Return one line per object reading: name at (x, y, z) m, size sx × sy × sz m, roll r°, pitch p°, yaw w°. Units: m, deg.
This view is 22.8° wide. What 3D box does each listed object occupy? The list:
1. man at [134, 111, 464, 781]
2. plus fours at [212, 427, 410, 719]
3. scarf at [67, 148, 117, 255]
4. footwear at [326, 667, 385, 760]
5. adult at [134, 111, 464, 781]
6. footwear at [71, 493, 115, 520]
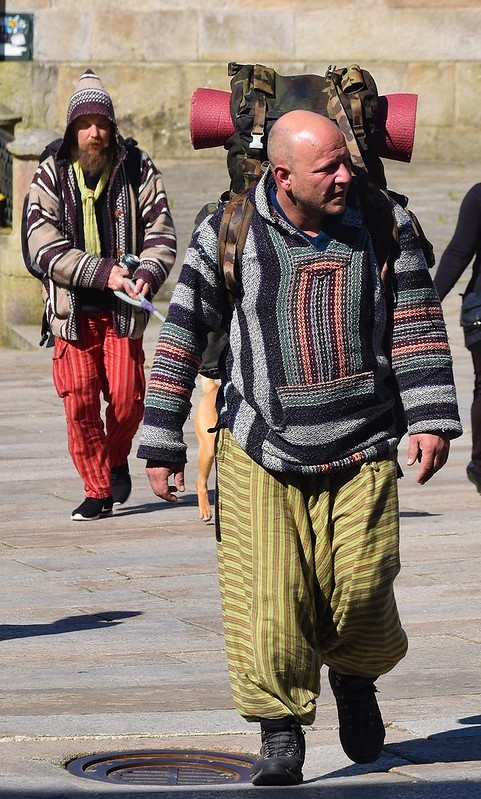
man at (0.151, 0.125, 2.906) m, size 0.864 × 1.501 × 0.551 m, roll -2°, pitch -1°, yaw 0°
plus fours at (0.162, 0.414, 2.809) m, size 0.464 × 0.640 × 0.328 m, roll 1°, pitch 11°, yaw 2°
scarf at (-0.783, -1.003, 6.246) m, size 0.206 × 0.503 × 0.181 m, roll -1°, pitch 12°, yaw -7°
footwear at (0.276, 0.783, 2.964) m, size 0.093 × 0.231 × 0.100 m, roll -9°, pitch -15°, yaw -1°
adult at (0.133, 0.114, 2.903) m, size 0.883 × 1.540 × 0.599 m, roll -1°, pitch -3°, yaw -6°
footwear at (-0.804, 0.592, 6.444) m, size 0.096 × 0.093 × 0.260 m, roll 0°, pitch 0°, yaw 42°
